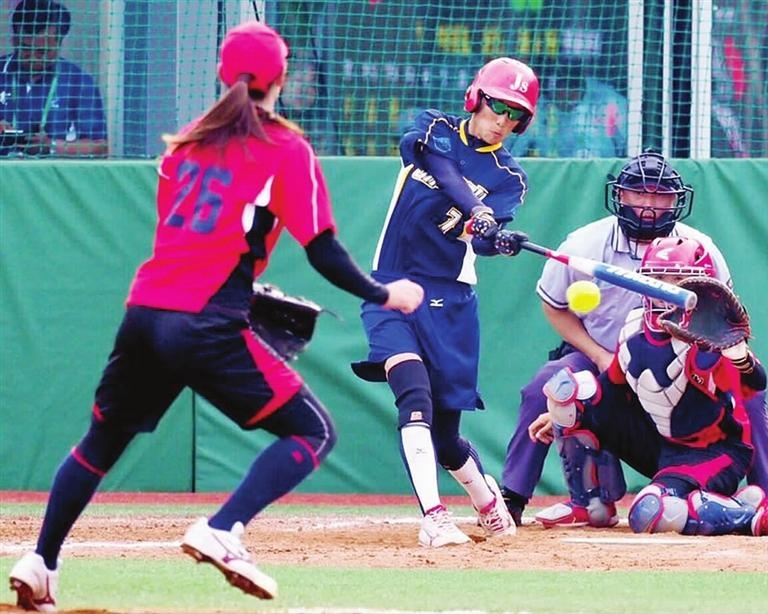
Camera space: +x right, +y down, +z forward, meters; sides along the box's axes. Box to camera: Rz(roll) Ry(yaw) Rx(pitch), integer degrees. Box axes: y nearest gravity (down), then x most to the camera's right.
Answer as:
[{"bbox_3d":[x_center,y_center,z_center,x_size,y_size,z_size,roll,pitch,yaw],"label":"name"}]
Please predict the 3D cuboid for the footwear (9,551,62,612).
[{"bbox_3d":[-1.200,0.938,3.842,0.158,0.169,0.236,4,3,-16],"label":"footwear"}]

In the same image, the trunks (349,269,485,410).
[{"bbox_3d":[0.209,0.151,5.317,0.652,0.604,0.330,8,-3,-29],"label":"trunks"}]

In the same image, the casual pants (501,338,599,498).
[{"bbox_3d":[0.778,0.577,5.838,0.263,0.762,0.458,15,4,-31],"label":"casual pants"}]

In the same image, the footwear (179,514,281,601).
[{"bbox_3d":[-0.530,0.874,3.893,0.341,0.270,0.203,5,3,-4],"label":"footwear"}]

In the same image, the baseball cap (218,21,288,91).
[{"bbox_3d":[-0.503,-0.929,4.213,0.236,0.268,0.288,3,11,-4],"label":"baseball cap"}]

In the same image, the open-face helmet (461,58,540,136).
[{"bbox_3d":[0.569,-1.020,5.284,0.274,0.248,0.337,29,14,-18],"label":"open-face helmet"}]

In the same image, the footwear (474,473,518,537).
[{"bbox_3d":[0.534,0.994,5.437,0.128,0.349,0.142,-31,-5,21],"label":"footwear"}]

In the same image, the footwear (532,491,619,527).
[{"bbox_3d":[0.954,1.029,5.645,0.435,0.200,0.162,3,-18,5],"label":"footwear"}]

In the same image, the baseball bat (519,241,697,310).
[{"bbox_3d":[1.089,-0.153,5.276,1.135,0.121,0.119,14,-34,16],"label":"baseball bat"}]

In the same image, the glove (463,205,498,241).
[{"bbox_3d":[0.427,-0.374,4.910,0.116,0.068,0.156,1,25,-12],"label":"glove"}]

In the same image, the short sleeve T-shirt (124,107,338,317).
[{"bbox_3d":[-0.603,-0.317,4.105,0.915,0.755,0.421,5,-7,19],"label":"short sleeve T-shirt"}]

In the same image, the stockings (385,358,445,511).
[{"bbox_3d":[0.153,0.548,5.059,0.191,0.724,0.178,-11,-3,4],"label":"stockings"}]

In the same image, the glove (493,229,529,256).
[{"bbox_3d":[0.549,-0.293,4.901,0.106,0.066,0.135,15,-6,4],"label":"glove"}]

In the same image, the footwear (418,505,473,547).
[{"bbox_3d":[0.252,0.970,4.923,0.140,0.157,0.357,-4,-3,-19],"label":"footwear"}]

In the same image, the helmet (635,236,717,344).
[{"bbox_3d":[1.376,-0.129,5.336,0.363,0.441,0.459,3,4,22],"label":"helmet"}]

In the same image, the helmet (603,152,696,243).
[{"bbox_3d":[1.444,-0.547,5.891,0.528,0.473,0.517,2,6,4],"label":"helmet"}]
